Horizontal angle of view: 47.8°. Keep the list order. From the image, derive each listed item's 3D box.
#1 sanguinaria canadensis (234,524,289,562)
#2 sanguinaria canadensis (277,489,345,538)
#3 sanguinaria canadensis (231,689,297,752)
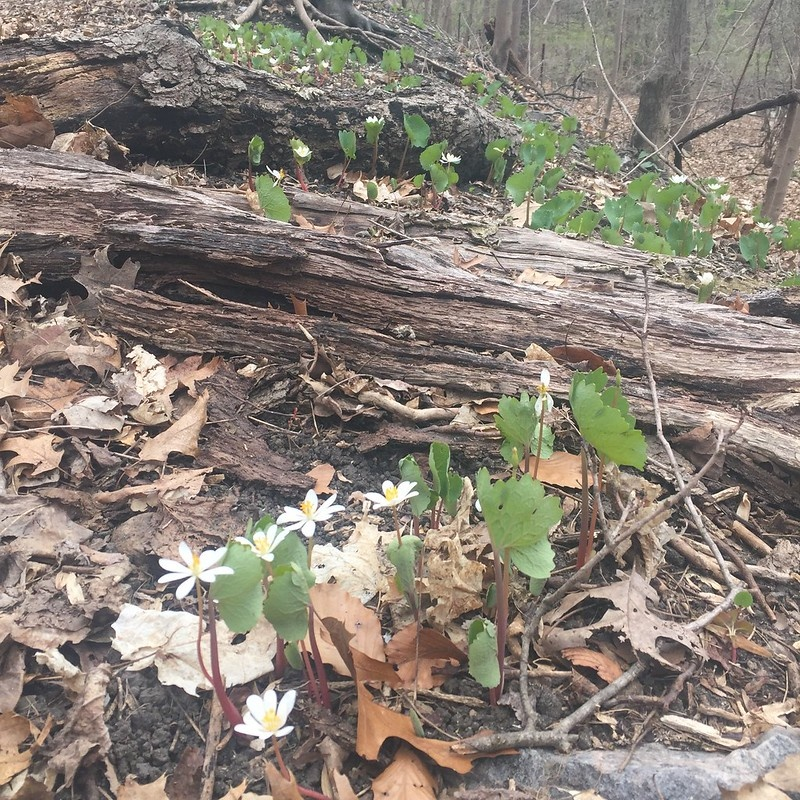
[{"bbox_3d":[-0.402,0.408,2.625,0.124,0.051,0.122,-4,31,6],"label":"sanguinaria canadensis"},{"bbox_3d":[-0.304,0.392,3.072,0.175,0.061,0.174,-30,43,-19],"label":"sanguinaria canadensis"},{"bbox_3d":[-0.362,0.873,2.535,0.154,0.181,0.149,13,22,13],"label":"sanguinaria canadensis"}]
